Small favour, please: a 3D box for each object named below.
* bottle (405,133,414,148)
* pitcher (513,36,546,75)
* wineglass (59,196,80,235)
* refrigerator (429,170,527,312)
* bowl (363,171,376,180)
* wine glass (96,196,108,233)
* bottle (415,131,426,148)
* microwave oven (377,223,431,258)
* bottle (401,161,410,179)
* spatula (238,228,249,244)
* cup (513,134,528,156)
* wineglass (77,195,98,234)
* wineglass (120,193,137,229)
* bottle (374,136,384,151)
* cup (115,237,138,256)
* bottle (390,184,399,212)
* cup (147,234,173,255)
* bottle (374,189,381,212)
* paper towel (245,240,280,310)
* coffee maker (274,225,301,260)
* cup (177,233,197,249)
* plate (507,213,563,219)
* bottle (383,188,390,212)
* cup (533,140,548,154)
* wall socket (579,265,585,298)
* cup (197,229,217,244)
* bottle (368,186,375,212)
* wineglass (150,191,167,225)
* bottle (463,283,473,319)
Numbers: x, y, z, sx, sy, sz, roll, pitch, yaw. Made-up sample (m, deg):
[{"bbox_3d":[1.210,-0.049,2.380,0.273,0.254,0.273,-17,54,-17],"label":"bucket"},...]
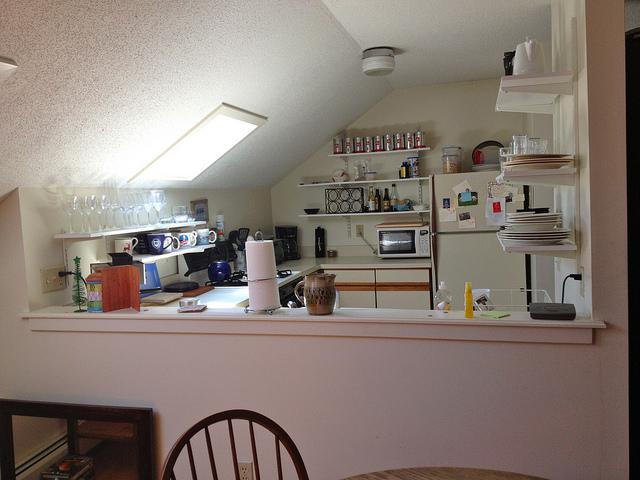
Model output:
[{"bbox_3d":[0.931,-1.033,5.206,0.124,0.203,0.126,1,4,0],"label":"bottle"},{"bbox_3d":[1.098,-0.958,2.609,0.140,0.194,0.186,4,17,16],"label":"pitcher"},{"bbox_3d":[-1.565,-0.159,3.145,0.111,0.232,0.152,-3,0,-27],"label":"wineglass"},{"bbox_3d":[1.383,0.024,4.333,0.827,1.320,1.037,-3,0,13],"label":"refrigerator"},{"bbox_3d":[0.522,-0.683,5.354,0.139,0.086,0.106,-3,0,19],"label":"bowl"},{"bbox_3d":[-1.448,-0.177,3.333,0.071,0.227,0.139,-3,0,-37],"label":"wine glass"},{"bbox_3d":[1.035,-1.035,5.177,0.096,0.175,0.097,-3,0,0],"label":"bottle"},{"bbox_3d":[0.845,0.022,5.007,0.504,0.343,0.330,-1,-4,17],"label":"microwave oven"},{"bbox_3d":[0.894,-0.726,5.248,0.085,0.183,0.053,-3,0,10],"label":"bottle"},{"bbox_3d":[-0.769,-0.042,4.895,0.102,0.166,0.119,0,9,-15],"label":"spatula"},{"bbox_3d":[1.052,-0.498,2.616,0.069,0.121,0.119,-2,0,25],"label":"cup"},{"bbox_3d":[-1.488,-0.156,3.213,0.116,0.201,0.109,-7,-11,-12],"label":"wineglass"},{"bbox_3d":[-1.313,-0.195,3.446,0.090,0.234,0.205,-3,0,-14],"label":"wineglass"},{"bbox_3d":[0.629,-1.012,5.286,0.125,0.206,0.127,2,1,0],"label":"bottle"},{"bbox_3d":[-1.334,0.038,3.462,0.144,0.117,0.217,-3,0,-37],"label":"cup"},{"bbox_3d":[0.782,-0.445,5.304,0.087,0.298,0.207,-3,0,9],"label":"bottle"},{"bbox_3d":[-1.119,0.020,3.471,0.153,0.113,0.104,1,-1,-20],"label":"cup"},{"bbox_3d":[0.623,-0.427,5.379,0.061,0.243,0.134,-3,0,14],"label":"bottle"},{"bbox_3d":[-0.320,0.192,2.797,0.169,0.375,0.123,-3,0,-7],"label":"paper towel"},{"bbox_3d":[-0.365,0.027,5.634,0.289,0.370,0.324,-5,8,-13],"label":"coffee maker"},{"bbox_3d":[-0.995,0.001,3.756,0.107,0.081,0.088,2,-2,-24],"label":"cup"},{"bbox_3d":[1.096,-0.122,2.561,0.233,0.026,0.092,-3,0,9],"label":"plate"},{"bbox_3d":[0.714,-0.433,5.370,0.071,0.255,0.122,-3,0,12],"label":"bottle"},{"bbox_3d":[1.158,-0.499,2.673,0.076,0.088,0.085,-7,13,-42],"label":"cup"},{"bbox_3d":[1.327,0.205,2.533,0.011,0.167,0.168,-3,0,23],"label":"wall socket"},{"bbox_3d":[-0.904,-0.037,3.993,0.146,0.107,0.083,1,0,-23],"label":"cup"},{"bbox_3d":[0.558,-0.439,5.367,0.070,0.278,0.170,-3,0,6],"label":"bottle"},{"bbox_3d":[-1.186,-0.226,3.673,0.102,0.225,0.418,-3,0,-18],"label":"wineglass"},{"bbox_3d":[0.763,0.306,2.573,0.039,0.181,0.143,-3,0,17],"label":"bottle"}]
